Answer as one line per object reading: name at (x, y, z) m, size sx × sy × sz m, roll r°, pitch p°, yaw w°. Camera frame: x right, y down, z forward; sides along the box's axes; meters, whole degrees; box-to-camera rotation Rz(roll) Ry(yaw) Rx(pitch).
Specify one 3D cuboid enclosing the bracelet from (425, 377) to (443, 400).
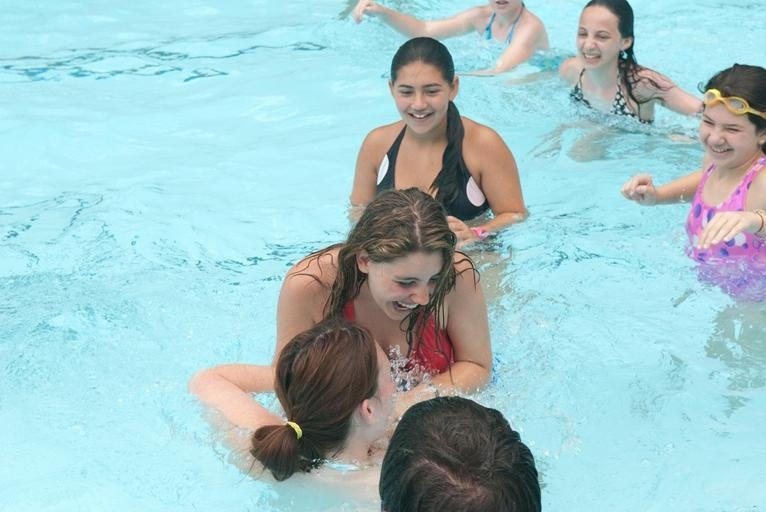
bracelet at (0.275, 0.716, 3.739) m, size 0.065 × 0.082 × 0.075 m, roll -8°, pitch 52°, yaw 7°

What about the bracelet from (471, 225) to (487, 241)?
bracelet at (0.659, -0.159, 4.684) m, size 0.053 × 0.073 × 0.100 m, roll -39°, pitch 24°, yaw -15°

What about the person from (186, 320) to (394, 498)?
person at (-0.424, 0.666, 3.265) m, size 0.967 × 0.672 × 0.581 m, roll 9°, pitch 33°, yaw 21°
